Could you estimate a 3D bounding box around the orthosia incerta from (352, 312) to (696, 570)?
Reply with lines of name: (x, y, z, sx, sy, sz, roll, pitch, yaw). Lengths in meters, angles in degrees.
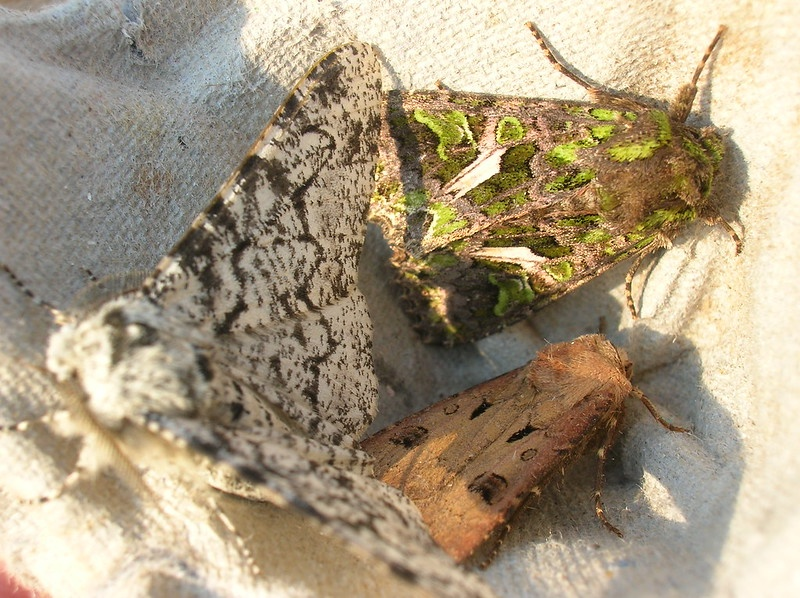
orthosia incerta: (0.232, 0.239, 1.612, 0.549, 0.436, 0.176, -33, -46, -11)

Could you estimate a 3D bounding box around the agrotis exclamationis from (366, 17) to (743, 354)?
agrotis exclamationis: (0.252, -0.177, 1.625, 0.632, 0.448, 0.176, -5, 26, 20)
